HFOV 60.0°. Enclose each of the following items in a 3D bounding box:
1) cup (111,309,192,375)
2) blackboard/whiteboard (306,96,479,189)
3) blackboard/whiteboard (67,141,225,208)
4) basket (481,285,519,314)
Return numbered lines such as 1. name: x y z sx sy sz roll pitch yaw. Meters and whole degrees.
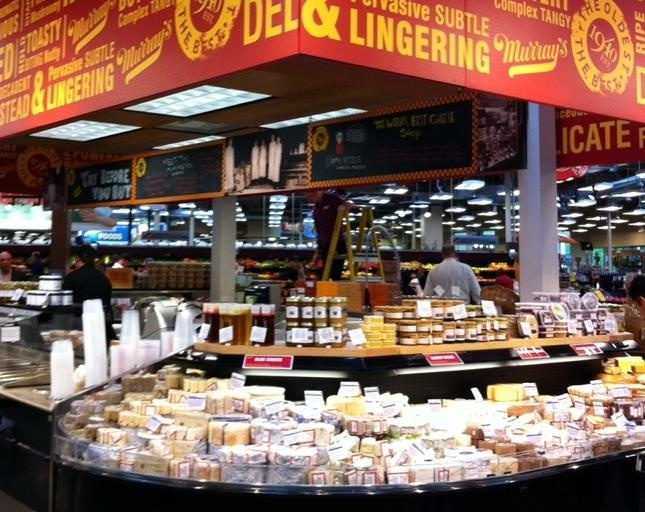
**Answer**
1. cup: -1.000 0.525 3.457 0.369 0.140 0.494 -9 1 31
2. blackboard/whiteboard: 0.601 -1.049 5.326 1.950 0.681 0.130 2 5 42
3. blackboard/whiteboard: -2.289 -0.956 6.920 3.297 0.613 0.072 1 -2 37
4. basket: 1.331 0.333 4.183 0.289 0.224 0.188 0 2 1
